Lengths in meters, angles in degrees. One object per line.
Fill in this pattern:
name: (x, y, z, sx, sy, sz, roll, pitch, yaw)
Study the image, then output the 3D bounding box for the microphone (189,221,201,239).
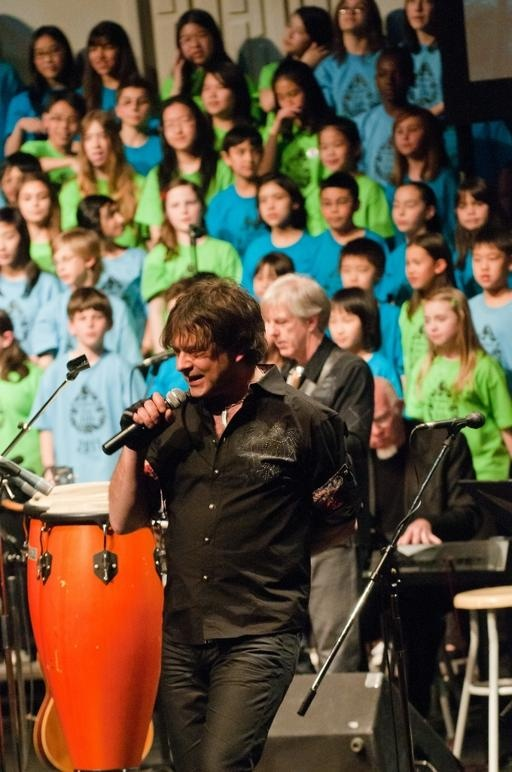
microphone: (-0.295, -0.758, 3.932, 0.066, 0.082, 0.080, -6, 4, -6)

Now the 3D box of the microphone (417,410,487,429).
microphone: (0.630, 0.121, 2.555, 0.184, 0.059, 0.265, -4, 4, 17)

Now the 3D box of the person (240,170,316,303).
person: (0.146, -0.640, 3.936, 0.453, 0.791, 0.289, -5, 7, 7)

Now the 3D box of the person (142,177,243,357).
person: (-0.307, -0.439, 4.050, 0.496, 1.101, 0.325, -8, 4, -9)

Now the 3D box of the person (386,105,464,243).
person: (0.770, -0.909, 3.765, 0.313, 0.709, 0.195, -1, 22, 22)

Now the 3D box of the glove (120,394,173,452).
glove: (-0.212, 0.076, 1.525, 0.097, 0.121, 0.070, -1, 6, 43)

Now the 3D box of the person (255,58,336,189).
person: (0.229, -1.200, 4.032, 0.328, 0.239, 0.952, -5, -36, 4)
